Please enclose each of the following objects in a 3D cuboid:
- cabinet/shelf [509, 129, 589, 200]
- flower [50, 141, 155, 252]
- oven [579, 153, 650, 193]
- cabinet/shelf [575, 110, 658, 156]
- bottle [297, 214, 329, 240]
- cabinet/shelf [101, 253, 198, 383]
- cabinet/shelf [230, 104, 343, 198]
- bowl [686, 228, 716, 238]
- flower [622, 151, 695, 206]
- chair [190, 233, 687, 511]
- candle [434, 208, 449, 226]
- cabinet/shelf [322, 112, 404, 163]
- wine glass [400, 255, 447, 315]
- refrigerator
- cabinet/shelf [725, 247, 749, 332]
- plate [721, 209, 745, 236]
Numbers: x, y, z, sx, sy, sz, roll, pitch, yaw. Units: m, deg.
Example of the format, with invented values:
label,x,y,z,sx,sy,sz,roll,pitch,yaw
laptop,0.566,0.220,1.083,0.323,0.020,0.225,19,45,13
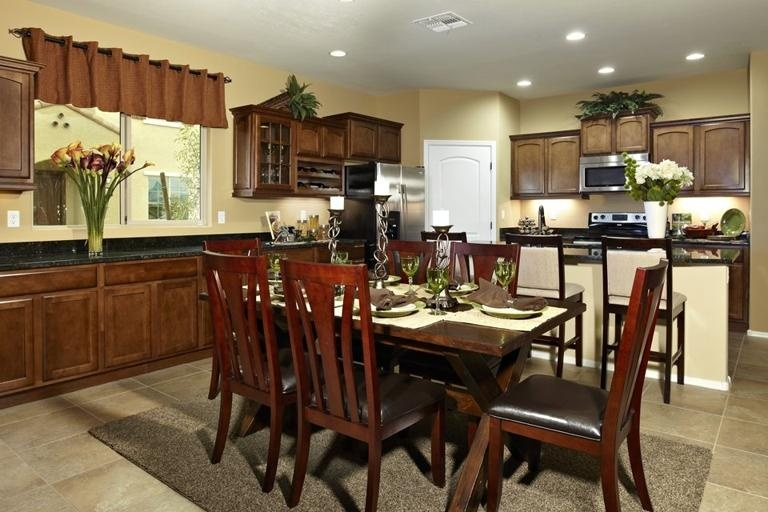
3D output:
label,x,y,z,sx,sy,sz,roll,pitch,yaw
cabinet/shelf,2.380,-1.271,7.545,1.002,0.934,0.408,0,-3,16
flower,-2.666,-0.507,4.818,0.843,0.963,0.823,3,4,-2
oven,3.187,-1.104,7.022,0.458,0.534,0.843,-15,15,-40
cabinet/shelf,3.150,-1.633,6.947,0.932,0.566,0.362,3,10,34
bottle,-0.906,-0.358,6.425,0.352,0.296,0.354,1,4,19
cabinet/shelf,-2.051,0.510,4.829,1.059,0.974,0.389,-8,-11,9
cabinet/shelf,-1.082,-1.186,6.252,0.378,0.967,1.414,8,9,41
bowl,3.782,-0.275,6.151,0.274,0.125,0.170,8,17,31
flower,2.365,-0.672,4.557,0.342,0.374,0.439,-7,-6,-13
chair,0.277,0.747,3.094,2.199,1.487,1.221,3,0,32
candle,0.356,-0.246,3.229,0.114,0.125,0.112,-1,3,-10
cabinet/shelf,-0.237,-1.542,6.961,0.437,0.568,1.197,5,7,42
wine glass,0.266,0.190,3.366,0.122,0.230,0.358,-5,7,-32
refrigerator,0.128,-0.567,6.890,0.765,1.249,0.509,-12,19,-33
cabinet/shelf,4.090,0.377,5.876,0.207,0.947,0.245,3,15,12
plate,4.205,-0.403,6.170,0.075,0.310,0.310,5,0,-30
